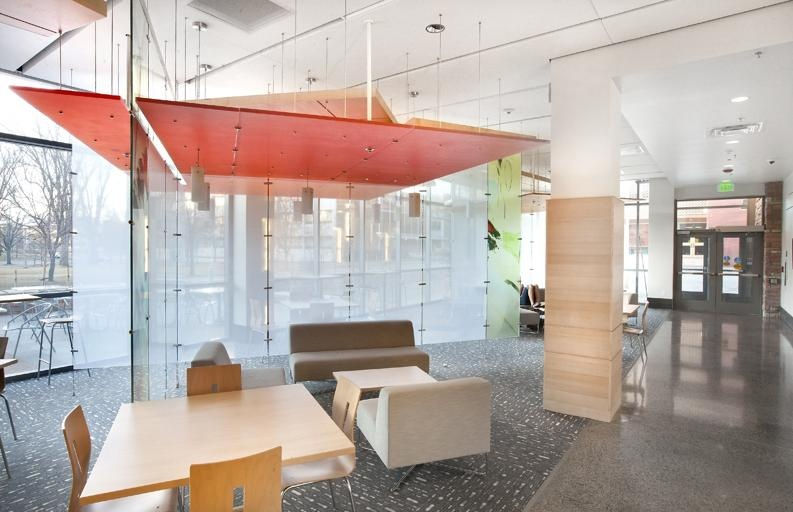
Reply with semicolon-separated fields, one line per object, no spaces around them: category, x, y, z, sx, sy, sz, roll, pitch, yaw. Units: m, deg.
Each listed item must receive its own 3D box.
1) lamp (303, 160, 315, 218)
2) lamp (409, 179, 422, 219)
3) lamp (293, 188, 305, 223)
lamp;-1.631;-1.245;9.792;0.210;0.938;0.203;1;1;-2
lamp;0.386;-1.043;10.604;0.189;0.512;0.338;-2;0;-6
lamp;-1.854;-0.901;10.114;0.127;0.430;0.847;-2;-1;-13
